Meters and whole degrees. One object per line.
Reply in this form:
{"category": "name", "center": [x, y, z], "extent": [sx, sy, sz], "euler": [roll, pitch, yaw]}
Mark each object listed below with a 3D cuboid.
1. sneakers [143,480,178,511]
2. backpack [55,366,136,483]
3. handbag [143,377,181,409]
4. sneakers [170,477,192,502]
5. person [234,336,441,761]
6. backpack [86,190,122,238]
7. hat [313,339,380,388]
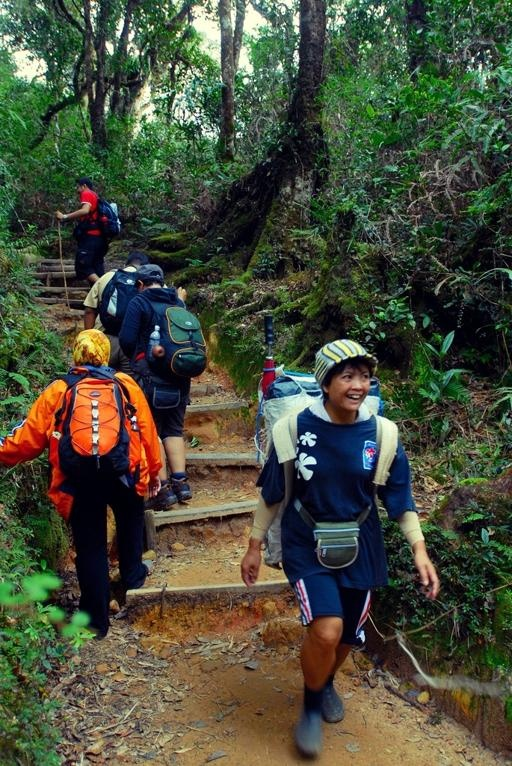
{"category": "sneakers", "center": [-0.830, 0.946, 4.944], "extent": [0.378, 0.255, 0.142], "euler": [-15, -19, 35]}
{"category": "backpack", "center": [-0.860, 0.276, 3.332], "extent": [0.386, 0.709, 0.490], "euler": [3, 8, 3]}
{"category": "handbag", "center": [-0.734, 0.111, 5.028], "extent": [0.359, 0.336, 0.196], "euler": [1, -1, -41]}
{"category": "sneakers", "center": [-0.630, 0.902, 5.098], "extent": [0.106, 0.127, 0.279], "euler": [-5, 7, -15]}
{"category": "person", "center": [0.342, 0.735, 2.652], "extent": [0.799, 1.834, 0.512], "euler": [2, 8, -2]}
{"category": "backpack", "center": [-2.050, -2.353, 8.681], "extent": [0.485, 0.851, 0.657], "euler": [0, 9, 0]}
{"category": "hat", "center": [0.370, -0.100, 2.564], "extent": [0.175, 0.128, 0.255], "euler": [3, -26, -29]}
